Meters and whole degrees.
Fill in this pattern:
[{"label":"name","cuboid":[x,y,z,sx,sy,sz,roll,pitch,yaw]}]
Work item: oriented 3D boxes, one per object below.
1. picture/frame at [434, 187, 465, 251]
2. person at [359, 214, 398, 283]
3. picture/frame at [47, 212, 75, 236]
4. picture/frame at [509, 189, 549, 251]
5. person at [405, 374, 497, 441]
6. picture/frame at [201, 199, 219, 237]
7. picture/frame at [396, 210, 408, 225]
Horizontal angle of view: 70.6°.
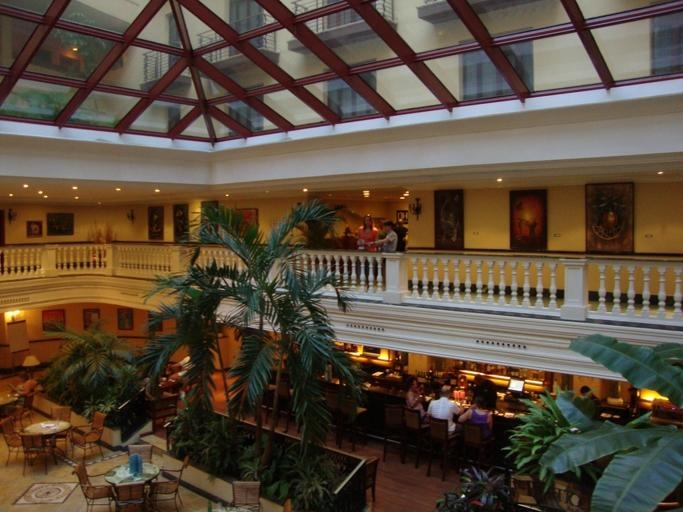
[{"label":"picture/frame","cuboid":[2.872,-0.972,12.972,0.798,1.598,0.077,2,-2,25]},{"label":"person","cuboid":[0.794,-0.217,11.387,0.807,1.256,1.520,2,-1,-2]},{"label":"picture/frame","cuboid":[-10.978,-1.256,18.732,0.101,0.802,0.983,2,4,32]},{"label":"picture/frame","cuboid":[4.635,-0.883,12.025,0.876,1.517,0.096,2,-2,31]},{"label":"person","cuboid":[2.440,3.426,10.723,1.821,0.853,0.962,9,-7,9]},{"label":"picture/frame","cuboid":[-2.360,-0.636,8.549,0.264,0.526,1.194,3,-2,-16]},{"label":"picture/frame","cuboid":[2.253,-1.510,18.492,0.610,0.566,0.327,1,-2,36]}]
